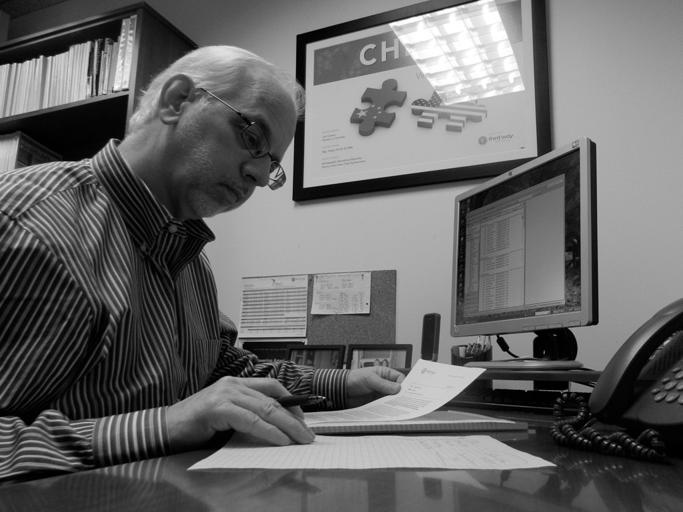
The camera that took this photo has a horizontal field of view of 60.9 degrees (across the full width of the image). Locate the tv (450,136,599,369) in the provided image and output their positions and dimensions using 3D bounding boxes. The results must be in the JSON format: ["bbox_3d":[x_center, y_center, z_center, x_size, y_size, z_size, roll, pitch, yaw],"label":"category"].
[{"bbox_3d":[0.463,0.016,1.452,0.223,0.558,0.531,9,-15,-22],"label":"tv"}]

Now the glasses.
[{"bbox_3d":[-0.223,-0.261,1.261,0.050,0.174,0.167,-34,-35,1],"label":"glasses"}]
